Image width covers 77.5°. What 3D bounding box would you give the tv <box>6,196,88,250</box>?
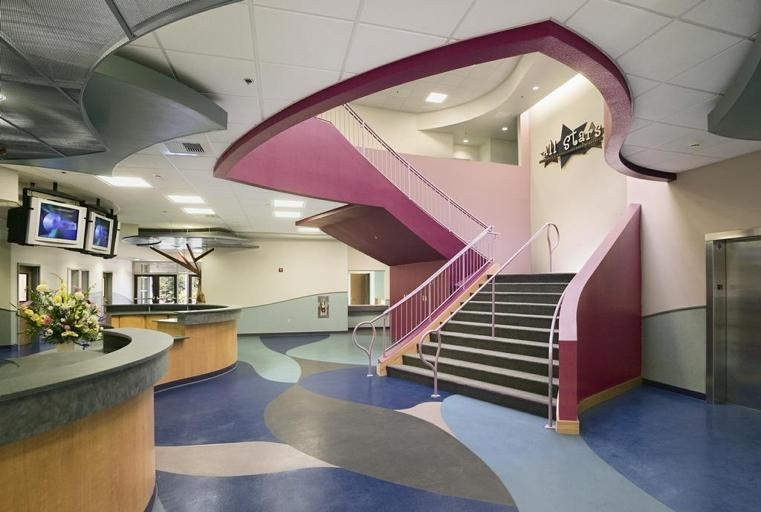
[{"bbox_3d":[-5.816,-0.594,8.310,0.482,0.778,0.994,-2,-6,16],"label":"tv"}]

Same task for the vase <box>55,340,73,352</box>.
[{"bbox_3d":[-3.852,1.111,5.795,0.163,0.140,0.187,-1,-15,0],"label":"vase"}]

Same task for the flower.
[{"bbox_3d":[-3.856,0.864,5.782,0.609,0.838,0.721,-10,-9,42],"label":"flower"}]
